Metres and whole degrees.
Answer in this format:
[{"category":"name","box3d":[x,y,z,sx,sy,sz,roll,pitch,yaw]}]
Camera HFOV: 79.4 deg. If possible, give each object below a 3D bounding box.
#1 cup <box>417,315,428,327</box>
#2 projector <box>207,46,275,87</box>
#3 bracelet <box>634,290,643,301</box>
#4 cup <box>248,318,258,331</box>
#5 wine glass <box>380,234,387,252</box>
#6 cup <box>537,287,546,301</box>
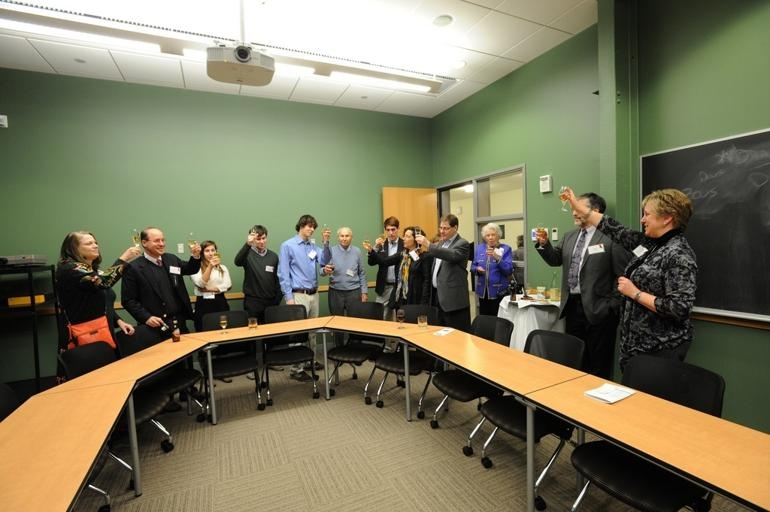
[{"category":"cup","box3d":[0.438,0.765,5.458,0.109,0.106,0.108,1,-4,0]},{"category":"projector","box3d":[-1.571,-2.063,5.024,0.666,0.302,0.402,-5,5,-22]},{"category":"bracelet","box3d":[2.241,0.356,4.116,0.047,0.072,0.076,4,11,17]},{"category":"cup","box3d":[-1.607,0.825,5.561,0.126,0.150,0.130,1,-5,0]},{"category":"wine glass","box3d":[-0.028,-0.223,7.045,0.160,0.228,0.082,-1,4,-2]},{"category":"cup","box3d":[1.947,0.476,5.797,0.118,0.230,0.121,1,-5,0]}]
